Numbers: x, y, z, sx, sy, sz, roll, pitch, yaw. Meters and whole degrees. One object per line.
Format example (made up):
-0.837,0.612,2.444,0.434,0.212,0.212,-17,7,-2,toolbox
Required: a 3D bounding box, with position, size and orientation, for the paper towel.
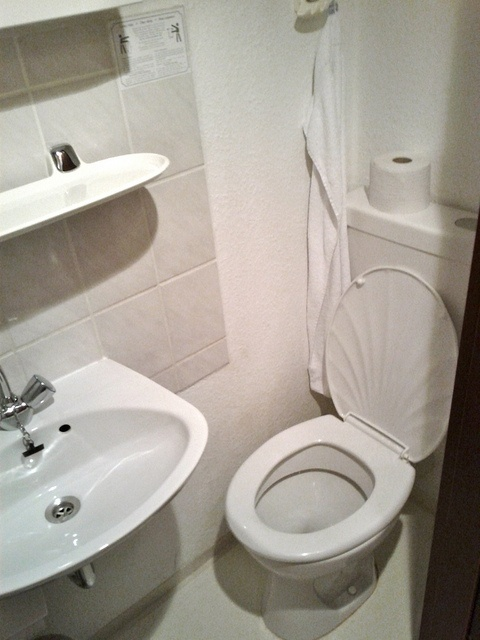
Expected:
0.377,-0.316,1.155,0.157,0.134,0.168,-7,10,-30,paper towel
